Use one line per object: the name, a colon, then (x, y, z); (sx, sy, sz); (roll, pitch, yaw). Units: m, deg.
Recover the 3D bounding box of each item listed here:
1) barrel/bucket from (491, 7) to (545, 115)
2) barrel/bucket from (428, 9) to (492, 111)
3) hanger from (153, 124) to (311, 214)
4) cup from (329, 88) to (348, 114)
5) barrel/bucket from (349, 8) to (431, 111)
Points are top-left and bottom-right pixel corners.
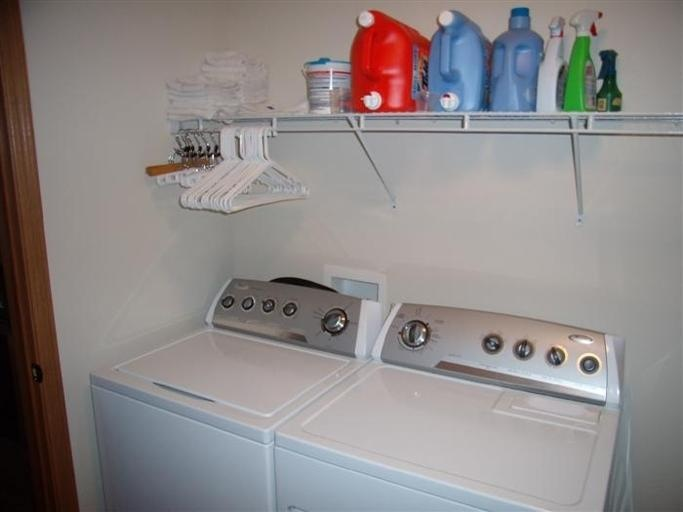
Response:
barrel/bucket: (0.609, -0.642, 1.842); (0.177, 0.273, 0.086); (2, 15, 20)
barrel/bucket: (0.436, -0.677, 1.939); (0.201, 0.344, 0.319); (7, 15, 27)
hanger: (-0.519, -0.345, 2.159); (0.539, 0.257, 0.409); (18, 34, 29)
cup: (-0.007, -0.595, 2.056); (0.082, 0.098, 0.085); (1, 9, 0)
barrel/bucket: (0.173, -0.691, 1.925); (0.233, 0.335, 0.419); (8, 17, 29)
